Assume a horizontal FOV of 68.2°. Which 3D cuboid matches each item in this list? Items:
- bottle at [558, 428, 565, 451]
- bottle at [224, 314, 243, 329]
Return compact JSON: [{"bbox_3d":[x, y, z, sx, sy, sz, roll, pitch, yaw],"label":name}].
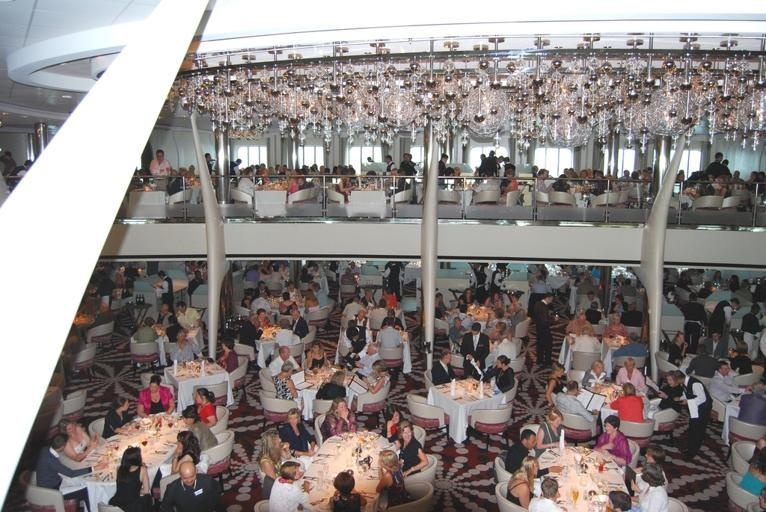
[{"bbox_3d":[2.581,2.644,8.177,0.076,0.255,0.219,2,6,17],"label":"bottle"},{"bbox_3d":[-3.723,1.629,14.019,0.394,0.405,0.397,3,14,-2],"label":"bottle"}]
